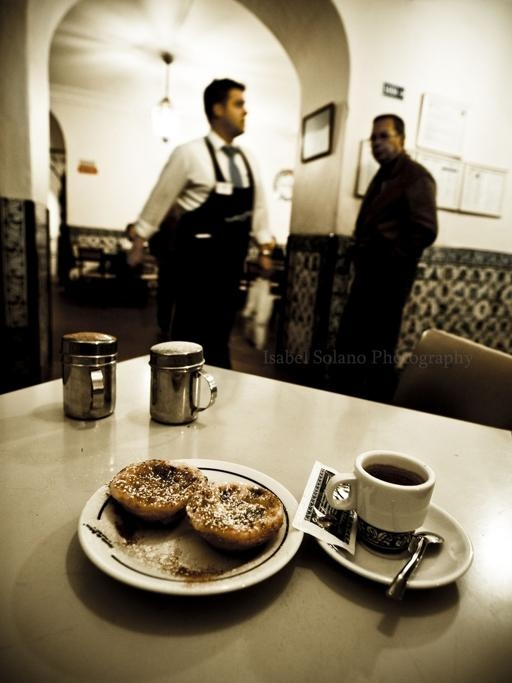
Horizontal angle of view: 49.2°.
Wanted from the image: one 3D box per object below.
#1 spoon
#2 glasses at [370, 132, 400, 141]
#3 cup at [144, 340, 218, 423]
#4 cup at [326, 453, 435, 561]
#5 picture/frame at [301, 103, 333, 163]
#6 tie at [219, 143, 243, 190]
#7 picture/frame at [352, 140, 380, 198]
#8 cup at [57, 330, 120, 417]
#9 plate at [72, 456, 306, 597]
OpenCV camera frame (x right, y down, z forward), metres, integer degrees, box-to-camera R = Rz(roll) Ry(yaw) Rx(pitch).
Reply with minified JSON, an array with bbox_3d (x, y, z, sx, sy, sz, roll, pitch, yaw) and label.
[{"bbox_3d":[0.151,0.216,0.546,0.028,0.025,0.153,13,14,19],"label":"spoon"},{"bbox_3d":[0.569,-0.916,2.501,0.125,0.035,0.011,0,11,-13],"label":"glasses"},{"bbox_3d":[-0.118,0.047,0.960,0.124,0.154,0.090,14,22,30],"label":"cup"},{"bbox_3d":[0.132,0.148,0.575,0.100,0.097,0.091,2,18,-1],"label":"cup"},{"bbox_3d":[0.270,-0.939,2.489,0.177,0.250,0.028,11,16,41],"label":"picture/frame"},{"bbox_3d":[-0.104,-0.759,2.428,0.098,0.171,0.014,-2,11,-20],"label":"tie"},{"bbox_3d":[0.490,-0.782,2.500,0.168,0.280,0.024,-14,18,-39],"label":"picture/frame"},{"bbox_3d":[-0.248,0.051,0.900,0.070,0.147,0.127,1,14,-11],"label":"cup"},{"bbox_3d":[-0.063,0.185,0.577,0.231,0.032,0.215,-4,13,-29],"label":"plate"}]
